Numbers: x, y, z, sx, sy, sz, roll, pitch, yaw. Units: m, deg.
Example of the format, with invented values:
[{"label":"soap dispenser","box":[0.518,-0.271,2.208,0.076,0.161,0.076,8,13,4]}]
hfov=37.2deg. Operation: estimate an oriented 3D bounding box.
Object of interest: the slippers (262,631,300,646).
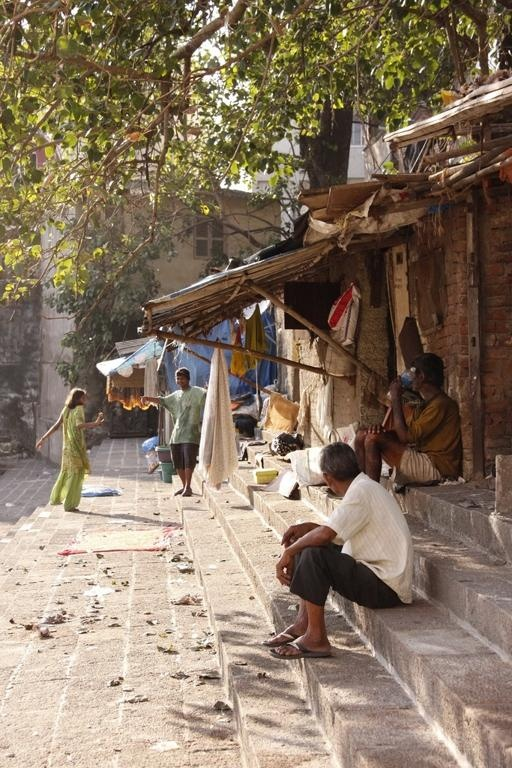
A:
[{"label":"slippers","box":[0.130,1.353,4.032,0.207,0.055,0.079,-4,-3,7]}]

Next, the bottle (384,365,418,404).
[{"label":"bottle","box":[1.182,0.011,6.218,0.058,0.385,0.291,7,12,-30]}]

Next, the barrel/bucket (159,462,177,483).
[{"label":"barrel/bucket","box":[-1.645,1.623,13.898,0.335,0.291,0.345,0,-8,0]}]

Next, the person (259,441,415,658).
[{"label":"person","box":[0.442,1.046,4.478,1.073,1.406,0.783,2,-12,0]}]
